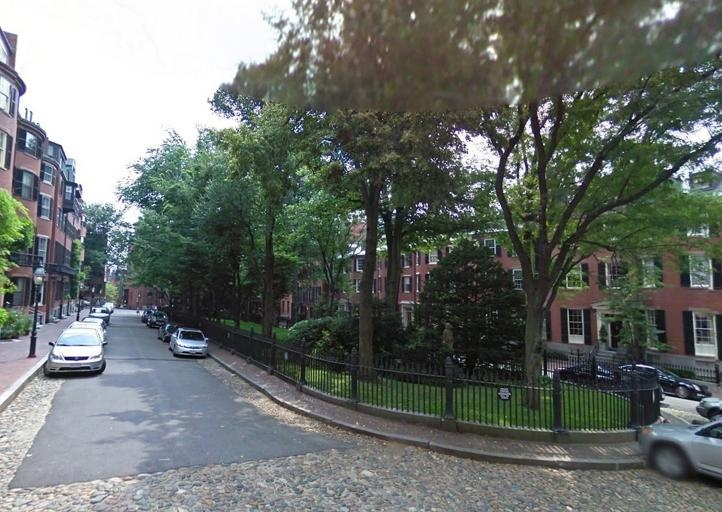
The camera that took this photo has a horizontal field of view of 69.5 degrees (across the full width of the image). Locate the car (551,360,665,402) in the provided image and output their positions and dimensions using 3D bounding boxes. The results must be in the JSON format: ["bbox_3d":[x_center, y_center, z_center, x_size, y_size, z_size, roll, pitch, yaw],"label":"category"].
[{"bbox_3d":[7.949,4.073,17.248,1.808,1.071,6.561,0,-3,14],"label":"car"}]

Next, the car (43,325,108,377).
[{"bbox_3d":[-11.157,3.798,20.465,1.899,1.614,2.516,1,-2,-24],"label":"car"}]
